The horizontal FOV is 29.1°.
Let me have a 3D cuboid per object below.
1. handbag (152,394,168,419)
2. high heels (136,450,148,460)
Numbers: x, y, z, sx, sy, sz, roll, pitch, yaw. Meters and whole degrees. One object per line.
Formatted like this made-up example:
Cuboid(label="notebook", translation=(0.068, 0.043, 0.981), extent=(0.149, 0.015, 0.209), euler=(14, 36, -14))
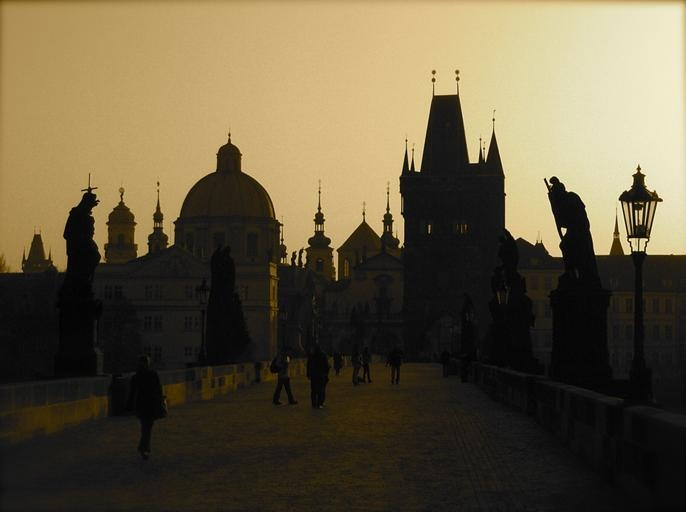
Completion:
Cuboid(label="handbag", translation=(-3.055, 2.566, 22.169), extent=(0.184, 0.394, 0.514), euler=(0, -5, -3))
Cuboid(label="high heels", translation=(-3.289, 3.317, 21.690), extent=(0.160, 0.193, 0.161), euler=(-2, 3, -26))
